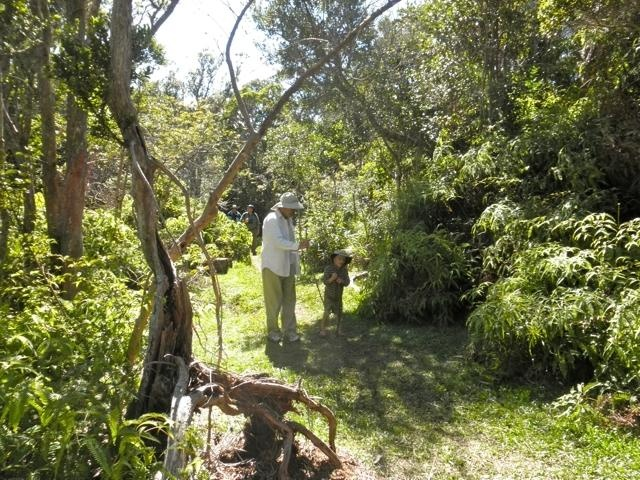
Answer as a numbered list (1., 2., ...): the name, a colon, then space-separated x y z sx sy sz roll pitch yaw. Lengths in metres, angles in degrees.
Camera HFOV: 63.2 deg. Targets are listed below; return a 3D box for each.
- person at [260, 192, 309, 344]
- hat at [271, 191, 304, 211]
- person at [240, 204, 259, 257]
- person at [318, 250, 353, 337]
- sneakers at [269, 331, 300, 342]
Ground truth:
1. person: -0.574 0.431 7.768 0.592 2.176 0.721 3 -8 -41
2. hat: -0.485 -0.569 7.793 0.322 0.187 0.345 6 9 -21
3. person: -2.106 -0.265 15.877 0.468 1.554 1.120 -2 -7 -9
4. person: 0.234 0.823 8.382 0.535 1.344 0.940 -3 -7 0
5. sneakers: -0.531 1.446 7.840 0.463 0.250 0.173 -1 3 5
